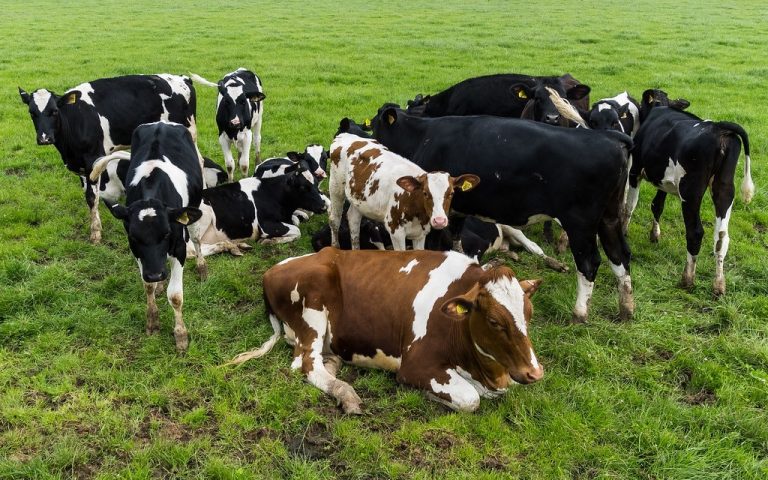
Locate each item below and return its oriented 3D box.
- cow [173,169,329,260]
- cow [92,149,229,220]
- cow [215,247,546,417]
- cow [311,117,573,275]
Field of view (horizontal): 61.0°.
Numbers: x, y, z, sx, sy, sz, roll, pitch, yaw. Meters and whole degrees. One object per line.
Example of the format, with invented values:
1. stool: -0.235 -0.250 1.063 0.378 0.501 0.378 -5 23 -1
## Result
1. cow: -2.563 -0.540 12.976 2.972 1.440 1.251 -15 27 -21
2. cow: -4.501 -1.385 13.371 2.773 1.450 0.966 -8 20 -21
3. cow: 0.281 1.240 10.023 3.946 2.006 2.342 6 20 14
4. cow: 1.814 -1.125 12.507 5.141 2.667 1.567 3 11 -7
